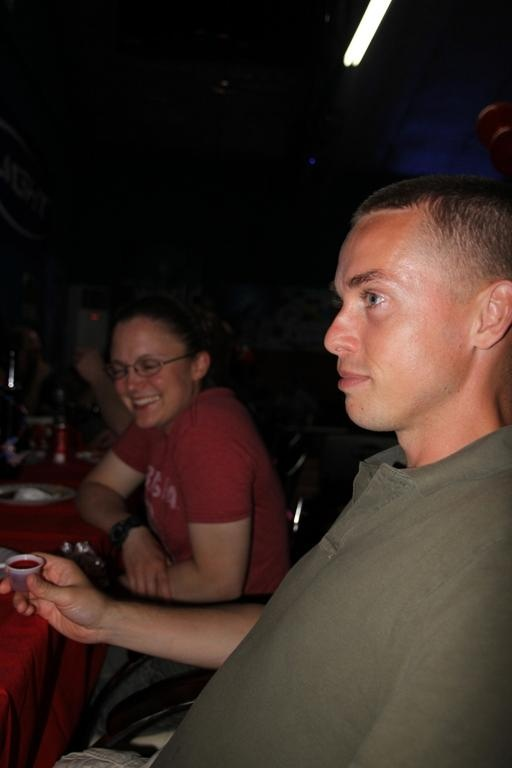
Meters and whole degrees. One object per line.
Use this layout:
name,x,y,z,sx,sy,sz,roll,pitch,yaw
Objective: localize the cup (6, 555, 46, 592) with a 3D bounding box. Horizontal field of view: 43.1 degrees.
cup,-0.386,0.322,1.135,0.082,0.051,0.063,3,9,1
